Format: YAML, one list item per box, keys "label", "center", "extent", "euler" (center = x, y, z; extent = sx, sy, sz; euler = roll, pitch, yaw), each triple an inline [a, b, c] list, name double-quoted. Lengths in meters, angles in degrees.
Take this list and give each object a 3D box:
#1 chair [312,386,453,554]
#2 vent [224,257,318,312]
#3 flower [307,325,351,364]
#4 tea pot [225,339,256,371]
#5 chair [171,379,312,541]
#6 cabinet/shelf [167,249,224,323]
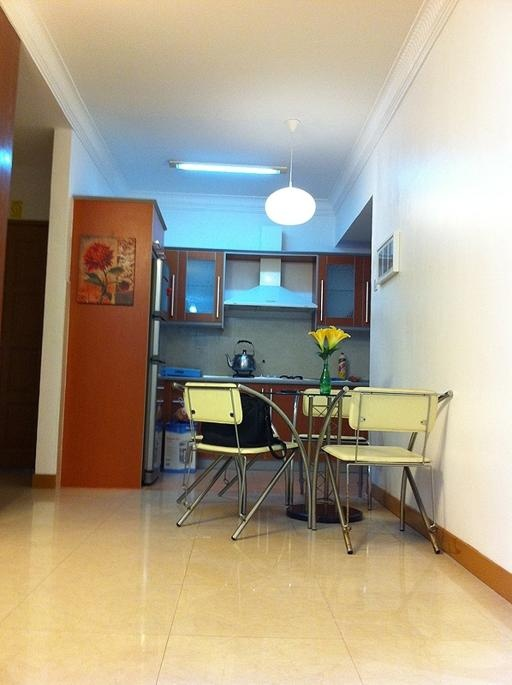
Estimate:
- label: "chair"
  center: [0.636, 0.639, 2.753]
  extent: [0.558, 0.801, 0.604]
  euler: [4, -8, -10]
- label: "vent"
  center: [0.177, -0.668, 6.101]
  extent: [1.030, 0.668, 0.383]
  euler: [0, -6, -2]
- label: "flower"
  center: [0.724, 0.024, 5.068]
  extent: [0.431, 0.417, 0.436]
  euler: [3, 2, 16]
- label: "tea pot"
  center: [-0.174, 0.174, 6.174]
  extent: [0.318, 0.451, 0.354]
  euler: [1, -8, 2]
- label: "chair"
  center: [-0.096, 0.664, 3.108]
  extent: [0.614, 0.826, 0.560]
  euler: [-2, -7, 41]
- label: "cabinet/shelf"
  center: [-0.717, -0.585, 6.076]
  extent: [0.652, 0.854, 0.429]
  euler: [2, -6, -6]
